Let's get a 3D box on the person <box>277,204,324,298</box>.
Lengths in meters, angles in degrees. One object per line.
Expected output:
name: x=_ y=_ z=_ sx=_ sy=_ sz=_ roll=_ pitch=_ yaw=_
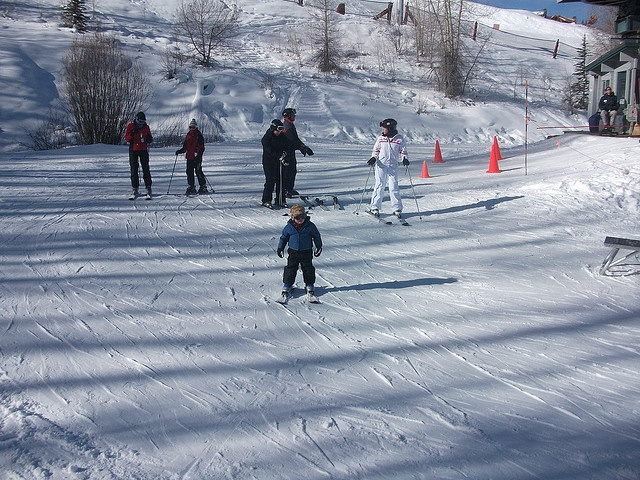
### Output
person: x=-0.324 y=0.207 z=8.005 sx=0.660 sy=1.484 sz=0.522 roll=-2 pitch=15 yaw=-4

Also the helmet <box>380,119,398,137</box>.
helmet: x=1.486 y=-2.395 z=11.168 sx=0.473 sy=0.314 sz=0.319 roll=4 pitch=16 yaw=4

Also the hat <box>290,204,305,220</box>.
hat: x=-0.349 y=-0.424 z=7.907 sx=0.203 sy=0.173 sz=0.236 roll=-3 pitch=-16 yaw=-24

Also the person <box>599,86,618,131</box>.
person: x=10.222 y=-4.621 z=18.426 sx=0.624 sy=1.420 sz=1.924 roll=7 pitch=15 yaw=27

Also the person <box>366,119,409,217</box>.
person: x=1.459 y=-1.531 z=11.329 sx=0.811 sy=2.097 sz=1.251 roll=0 pitch=14 yaw=5

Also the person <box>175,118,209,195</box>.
person: x=-3.185 y=-2.020 z=12.812 sx=0.630 sy=1.811 sz=1.569 roll=-4 pitch=14 yaw=-11

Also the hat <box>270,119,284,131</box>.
hat: x=-0.997 y=-2.580 z=11.814 sx=0.327 sy=0.218 sz=0.233 roll=-2 pitch=35 yaw=-7

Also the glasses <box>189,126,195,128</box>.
glasses: x=-3.078 y=-2.678 z=12.512 sx=0.151 sy=0.059 sz=0.122 roll=-3 pitch=13 yaw=-11

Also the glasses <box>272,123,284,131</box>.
glasses: x=-0.966 y=-2.546 z=11.777 sx=0.239 sy=0.099 sz=0.173 roll=6 pitch=11 yaw=34

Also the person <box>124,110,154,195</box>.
person: x=-4.249 y=-1.931 z=12.119 sx=0.626 sy=1.961 sz=0.890 roll=-6 pitch=15 yaw=-18
